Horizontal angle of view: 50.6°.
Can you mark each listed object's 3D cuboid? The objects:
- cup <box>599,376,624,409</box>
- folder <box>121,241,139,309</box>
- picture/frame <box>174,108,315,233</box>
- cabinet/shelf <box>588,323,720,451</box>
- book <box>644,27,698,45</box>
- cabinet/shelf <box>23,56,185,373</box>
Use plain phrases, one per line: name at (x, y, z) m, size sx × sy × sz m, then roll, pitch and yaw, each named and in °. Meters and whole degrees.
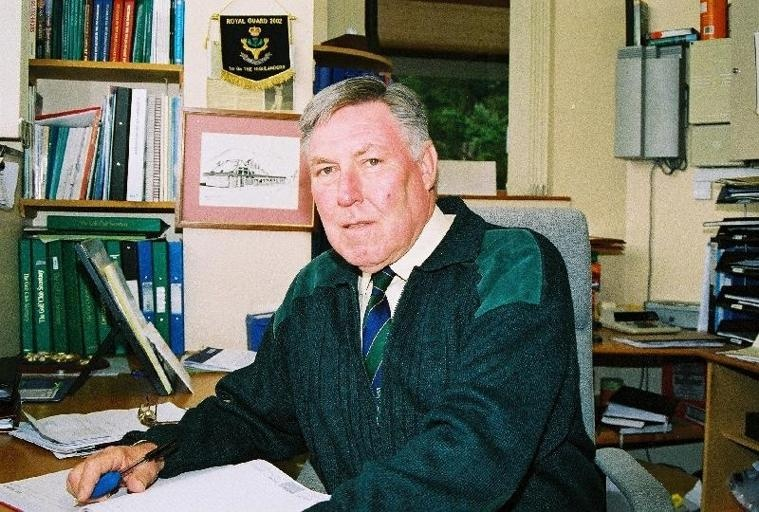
cup at (1.095, 0.647, 3.870) m, size 0.098 × 0.142 × 0.152 m, roll 0°, pitch 2°, yaw 0°
folder at (-1.001, 0.008, 3.246) m, size 0.062 × 0.150 × 0.164 m, roll -1°, pitch 4°, yaw -20°
picture/frame at (-0.566, -0.358, 3.241) m, size 0.537 × 0.417 × 0.041 m, roll 1°, pitch -3°, yaw -9°
cabinet/shelf at (1.221, 0.573, 3.727) m, size 0.674 × 0.385 × 0.635 m, roll 0°, pitch 1°, yaw 8°
book at (1.461, -1.108, 4.025) m, size 0.190 × 0.043 × 0.176 m, roll 3°, pitch 6°, yaw 26°
cabinet/shelf at (-1.177, -0.399, 3.481) m, size 0.632 × 0.571 × 0.447 m, roll 0°, pitch -18°, yaw -17°
